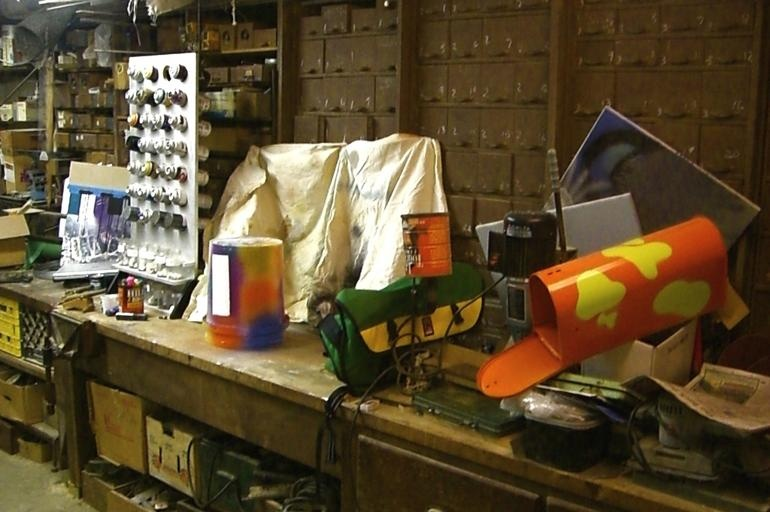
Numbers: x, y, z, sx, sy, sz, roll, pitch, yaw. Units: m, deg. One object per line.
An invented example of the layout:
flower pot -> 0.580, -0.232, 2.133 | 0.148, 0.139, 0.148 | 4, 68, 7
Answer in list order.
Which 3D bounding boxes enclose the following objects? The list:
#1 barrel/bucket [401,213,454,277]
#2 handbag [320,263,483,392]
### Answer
barrel/bucket -> 0.186, -0.068, 3.383 | 0.264, 0.301, 0.257 | -3, 5, 0
handbag -> 0.126, 0.321, 3.730 | 0.896, 0.574, 0.438 | -14, 30, -26
